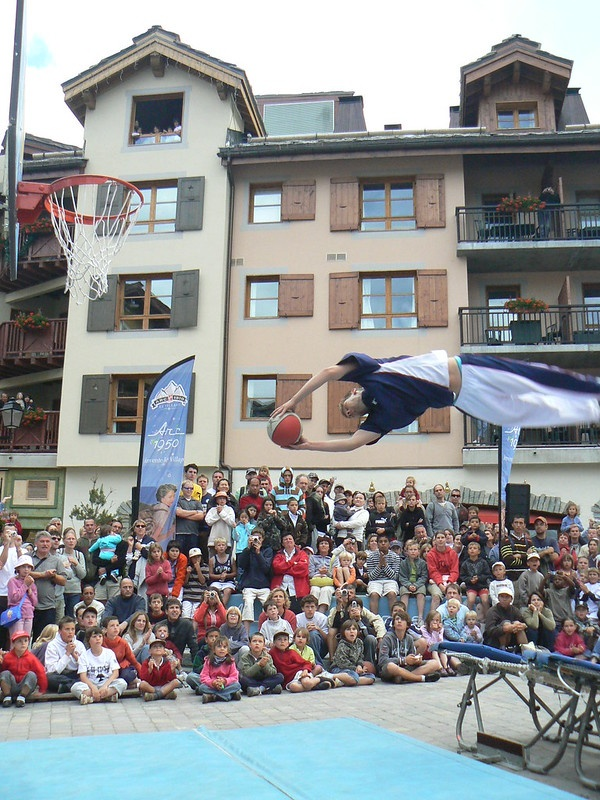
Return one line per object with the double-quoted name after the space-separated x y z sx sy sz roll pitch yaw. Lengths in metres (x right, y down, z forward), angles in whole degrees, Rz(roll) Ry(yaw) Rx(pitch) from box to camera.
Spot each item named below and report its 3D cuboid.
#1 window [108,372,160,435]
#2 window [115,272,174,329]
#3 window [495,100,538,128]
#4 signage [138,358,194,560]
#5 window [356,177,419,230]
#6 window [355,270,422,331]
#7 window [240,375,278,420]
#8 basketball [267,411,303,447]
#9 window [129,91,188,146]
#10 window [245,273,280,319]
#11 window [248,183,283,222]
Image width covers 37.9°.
-3.524 0.096 18.324 1.593 1.669 0.127 1 -15 -2 "window"
-3.711 -2.357 20.913 1.520 1.573 0.134 -2 -23 15 "window"
5.487 -7.245 22.098 0.870 0.562 0.095 -1 -6 3 "window"
-2.000 0.607 12.777 0.675 2.785 1.019 4 -10 -8 "signage"
2.113 -4.688 20.909 1.549 1.363 0.212 0 -21 6 "window"
2.048 -2.277 20.256 1.654 1.628 0.130 -1 -24 6 "window"
-0.935 -0.045 19.529 1.087 1.297 0.168 -2 -14 5 "window"
-0.173 0.223 7.063 0.286 0.299 0.268 9 3 -36 "basketball"
-3.546 -7.057 21.927 1.709 1.450 0.170 -1 -20 12 "window"
-0.906 -2.448 20.677 1.267 1.515 0.197 0 -27 -2 "window"
-0.850 -4.806 21.305 1.120 1.374 0.159 -1 -24 3 "window"
